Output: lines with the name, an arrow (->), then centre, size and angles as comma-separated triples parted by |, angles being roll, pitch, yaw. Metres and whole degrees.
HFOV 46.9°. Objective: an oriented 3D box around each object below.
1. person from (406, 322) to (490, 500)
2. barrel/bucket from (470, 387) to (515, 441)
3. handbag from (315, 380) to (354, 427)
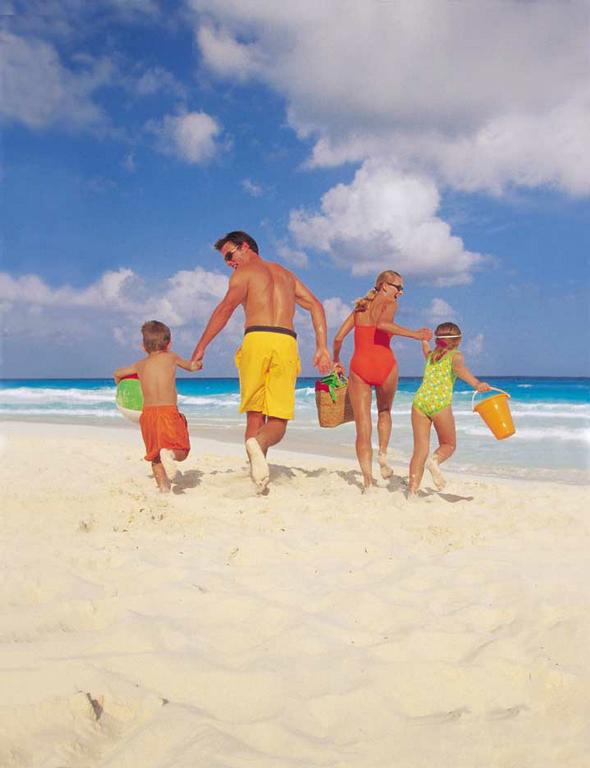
person -> 1.204, 0.227, 5.554 | 0.562, 1.455, 0.698 | 1, 5, 10
barrel/bucket -> 1.584, 0.200, 5.584 | 0.241, 0.369, 0.232 | -18, -29, -11
handbag -> 0.345, 0.151, 5.954 | 0.424, 0.381, 0.163 | -7, 10, -26
